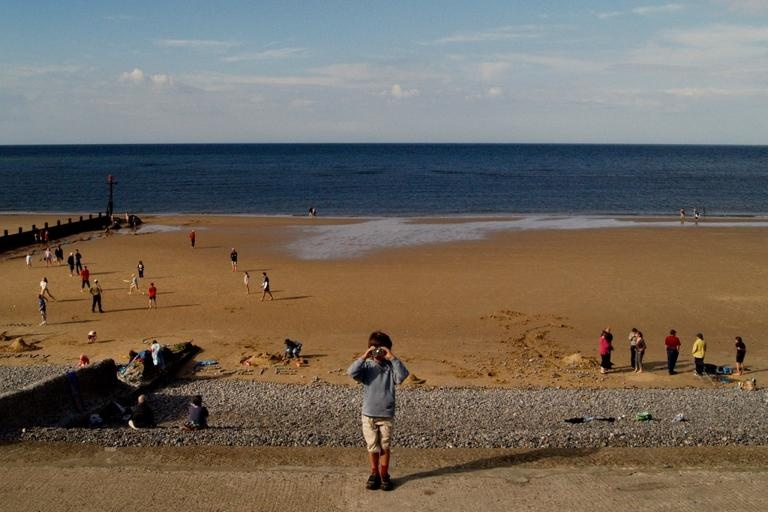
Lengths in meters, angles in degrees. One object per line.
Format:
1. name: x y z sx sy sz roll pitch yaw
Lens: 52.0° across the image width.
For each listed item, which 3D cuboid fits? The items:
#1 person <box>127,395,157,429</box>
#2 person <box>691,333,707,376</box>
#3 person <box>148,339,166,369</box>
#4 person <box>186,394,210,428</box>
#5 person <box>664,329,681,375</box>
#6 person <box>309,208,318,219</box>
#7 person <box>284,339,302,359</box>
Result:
1. person: -7.773 4.980 25.230 1.039 0.962 1.095 -1 -7 43
2. person: 12.147 3.772 30.457 0.449 1.486 0.718 3 14 21
3. person: -8.440 3.676 29.226 0.432 0.824 0.641 -6 13 -19
4. person: -5.944 4.824 25.018 0.677 1.033 1.167 -5 12 -13
5. person: 11.206 3.634 30.742 0.423 1.736 1.028 3 13 21
6. person: -7.089 -4.252 77.903 0.730 0.648 1.811 0 -4 -3
7. person: -3.728 3.663 32.007 0.713 0.693 1.287 -3 11 -7
